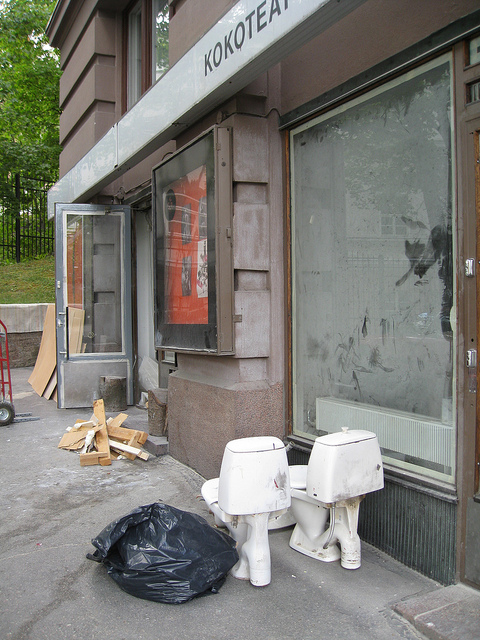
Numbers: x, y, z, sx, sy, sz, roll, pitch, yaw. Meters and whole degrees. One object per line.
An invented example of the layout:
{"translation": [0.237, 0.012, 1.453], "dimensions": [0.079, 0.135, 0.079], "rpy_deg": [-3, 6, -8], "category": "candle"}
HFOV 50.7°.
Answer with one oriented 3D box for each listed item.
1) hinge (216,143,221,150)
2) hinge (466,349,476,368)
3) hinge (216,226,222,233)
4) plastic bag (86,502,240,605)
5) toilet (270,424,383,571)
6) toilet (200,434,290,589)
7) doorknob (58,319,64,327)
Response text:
{"translation": [-0.155, -1.236, 3.620], "dimensions": [0.031, 0.070, 0.006], "rpy_deg": [0, 4, -8], "category": "hinge"}
{"translation": [1.035, 0.173, 2.273], "dimensions": [0.040, 0.128, 0.062], "rpy_deg": [1, -1, 14], "category": "hinge"}
{"translation": [-0.149, -0.646, 3.635], "dimensions": [0.028, 0.049, 0.009], "rpy_deg": [3, -2, -18], "category": "hinge"}
{"translation": [-0.365, 1.125, 2.439], "dimensions": [0.699, 0.316, 0.376], "rpy_deg": [-2, 0, 3], "category": "plastic bag"}
{"translation": [0.513, 0.913, 2.923], "dimensions": [0.379, 1.020, 0.776], "rpy_deg": [-1, 4, -22], "category": "toilet"}
{"translation": [0.039, 0.892, 2.609], "dimensions": [0.320, 0.873, 0.609], "rpy_deg": [-1, 3, -15], "category": "toilet"}
{"translation": [-2.542, 0.051, 7.218], "dimensions": [0.034, 0.141, 0.068], "rpy_deg": [0, 0, -44], "category": "doorknob"}
